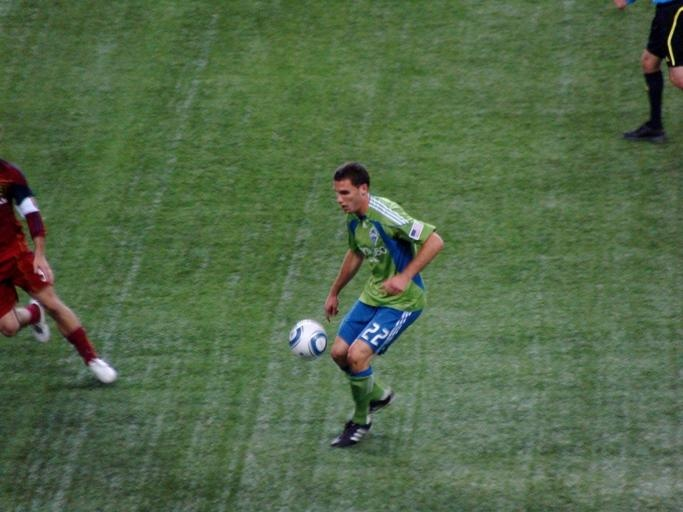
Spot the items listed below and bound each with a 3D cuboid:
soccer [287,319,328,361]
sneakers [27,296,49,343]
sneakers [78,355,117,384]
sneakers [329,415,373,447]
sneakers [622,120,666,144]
[{"bbox_3d":[-0.284,0.639,10.554,0.335,0.296,0.342,19,20,-10],"label":"soccer"},{"bbox_3d":[-2.585,0.545,11.208,0.171,0.383,0.177,-16,27,-6],"label":"sneakers"},{"bbox_3d":[-2.078,0.952,11.014,0.285,0.112,0.158,42,85,-2],"label":"sneakers"},{"bbox_3d":[0.066,1.445,10.565,0.411,0.153,0.146,-32,28,-13],"label":"sneakers"},{"bbox_3d":[2.823,-1.135,12.139,0.417,0.146,0.158,3,16,3],"label":"sneakers"}]
